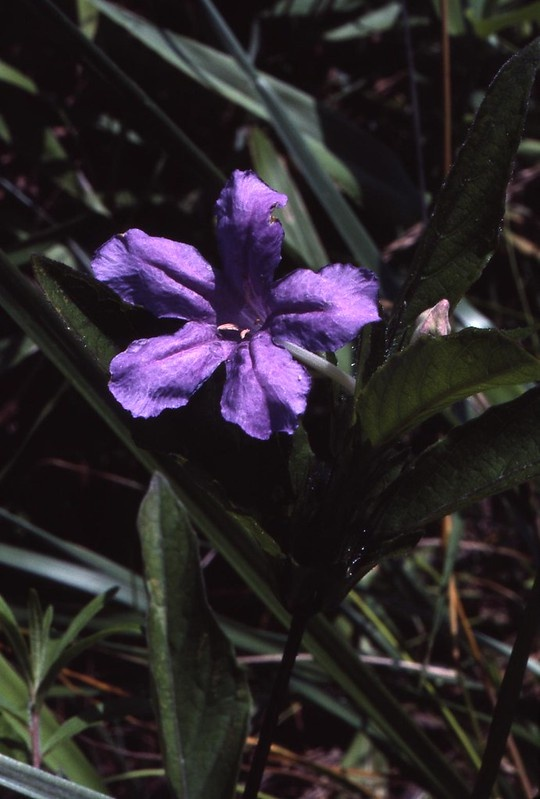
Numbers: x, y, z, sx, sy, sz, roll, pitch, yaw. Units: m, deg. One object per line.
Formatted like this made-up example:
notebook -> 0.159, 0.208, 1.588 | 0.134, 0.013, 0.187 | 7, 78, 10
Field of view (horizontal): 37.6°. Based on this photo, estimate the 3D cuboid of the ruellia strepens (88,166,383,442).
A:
ruellia strepens -> -0.050, -0.093, 0.781 | 0.238, 0.262, 0.207 | 20, -51, -22
